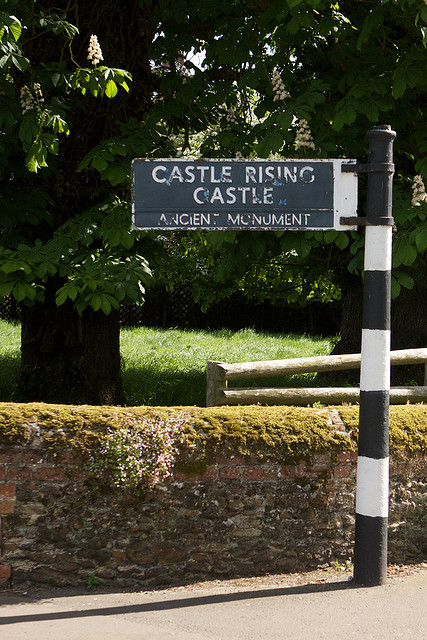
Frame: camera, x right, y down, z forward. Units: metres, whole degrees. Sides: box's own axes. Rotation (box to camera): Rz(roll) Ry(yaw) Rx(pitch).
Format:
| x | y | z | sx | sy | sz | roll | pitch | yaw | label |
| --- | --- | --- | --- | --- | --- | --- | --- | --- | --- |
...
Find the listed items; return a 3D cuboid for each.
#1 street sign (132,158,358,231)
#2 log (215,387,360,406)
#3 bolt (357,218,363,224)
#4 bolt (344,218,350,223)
| x | y | z | sx | sy | sz | roll | pitch | yaw | label |
| --- | --- | --- | --- | --- | --- | --- | --- | --- | --- |
| 0.169 | -0.693 | 5.341 | 1.239 | 0.411 | 0.150 | 2 | 15 | 1 | street sign |
| 0.467 | 0.512 | 6.425 | 1.016 | 0.175 | 0.080 | -1 | 20 | -6 | log |
| 0.795 | -0.538 | 5.272 | 0.027 | 0.025 | 0.006 | 0 | -3 | 40 | bolt |
| 0.730 | -0.545 | 5.309 | 0.029 | 0.024 | 0.011 | 6 | 16 | 16 | bolt |
